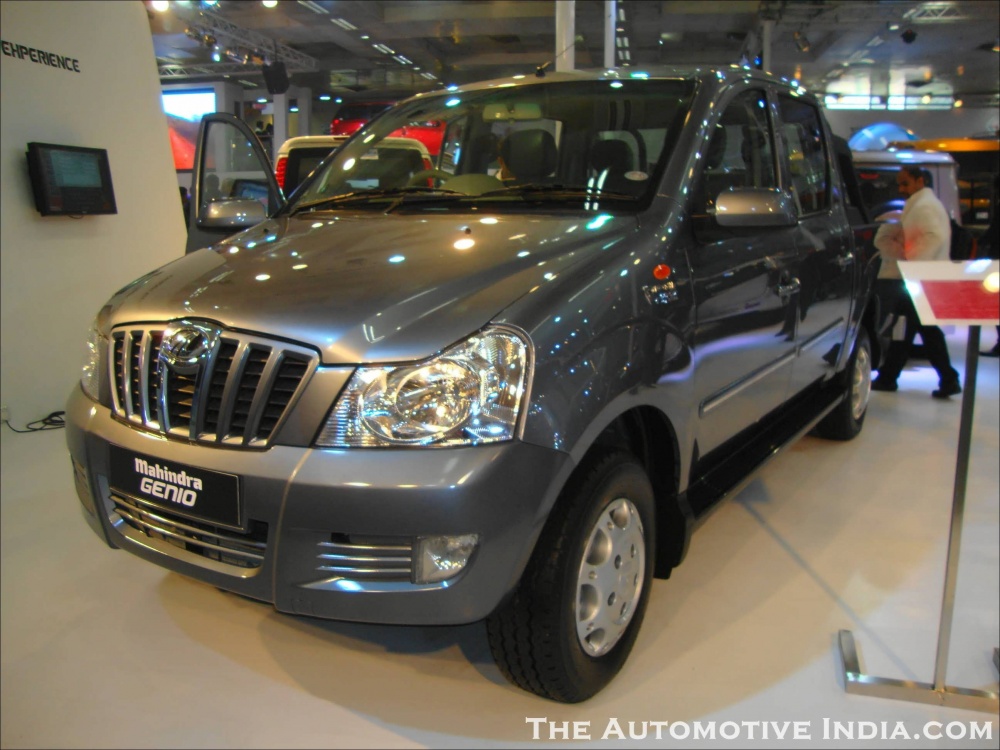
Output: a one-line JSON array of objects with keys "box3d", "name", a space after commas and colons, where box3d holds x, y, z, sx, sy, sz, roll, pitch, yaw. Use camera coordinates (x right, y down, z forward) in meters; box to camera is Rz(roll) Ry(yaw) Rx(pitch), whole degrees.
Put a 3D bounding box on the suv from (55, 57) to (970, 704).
[{"box3d": [0.422, -0.235, 2.955, 1.937, 1.544, 3.257, 2, 6, 32], "name": "suv"}]
